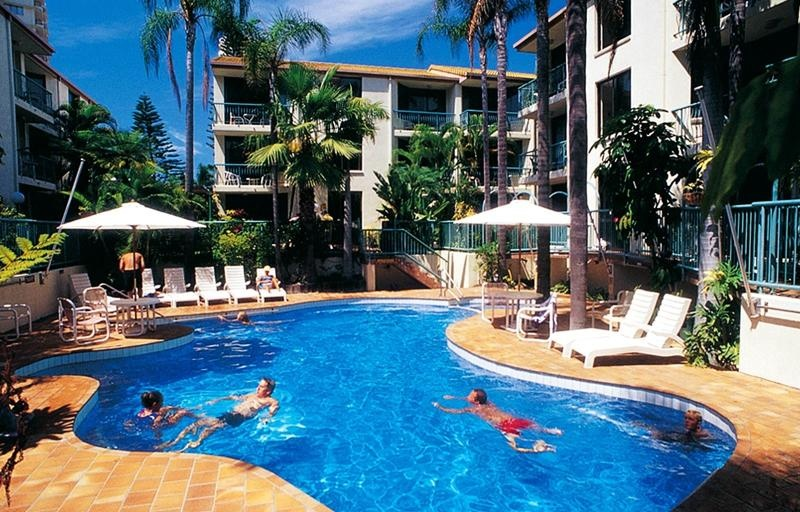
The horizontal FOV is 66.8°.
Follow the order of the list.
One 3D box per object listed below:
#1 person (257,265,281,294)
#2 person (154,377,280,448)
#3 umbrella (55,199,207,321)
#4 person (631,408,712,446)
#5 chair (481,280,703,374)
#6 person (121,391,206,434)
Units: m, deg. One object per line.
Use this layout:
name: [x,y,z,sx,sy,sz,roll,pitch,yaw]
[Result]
person: [-5.373,1.017,24.911,0.988,1.005,2.057,2,-2,-14]
person: [-4.110,3.917,14.748,1.409,0.600,1.805,20,27,39]
umbrella: [-10.032,0.267,22.455,4.256,3.056,4.256,-1,0,-39]
person: [6.259,3.870,13.789,1.227,0.676,0.644,-2,-16,7]
chair: [6.004,1.948,16.345,3.041,1.879,1.580,-2,2,11]
person: [-5.818,3.719,14.631,1.551,0.841,0.747,-3,2,-5]
